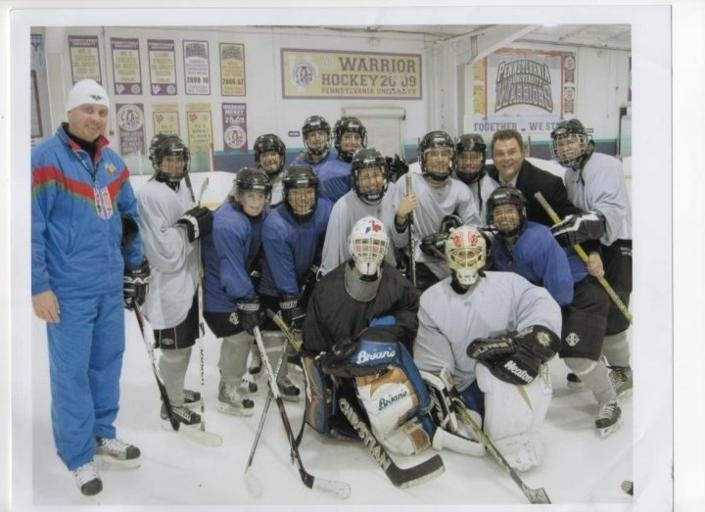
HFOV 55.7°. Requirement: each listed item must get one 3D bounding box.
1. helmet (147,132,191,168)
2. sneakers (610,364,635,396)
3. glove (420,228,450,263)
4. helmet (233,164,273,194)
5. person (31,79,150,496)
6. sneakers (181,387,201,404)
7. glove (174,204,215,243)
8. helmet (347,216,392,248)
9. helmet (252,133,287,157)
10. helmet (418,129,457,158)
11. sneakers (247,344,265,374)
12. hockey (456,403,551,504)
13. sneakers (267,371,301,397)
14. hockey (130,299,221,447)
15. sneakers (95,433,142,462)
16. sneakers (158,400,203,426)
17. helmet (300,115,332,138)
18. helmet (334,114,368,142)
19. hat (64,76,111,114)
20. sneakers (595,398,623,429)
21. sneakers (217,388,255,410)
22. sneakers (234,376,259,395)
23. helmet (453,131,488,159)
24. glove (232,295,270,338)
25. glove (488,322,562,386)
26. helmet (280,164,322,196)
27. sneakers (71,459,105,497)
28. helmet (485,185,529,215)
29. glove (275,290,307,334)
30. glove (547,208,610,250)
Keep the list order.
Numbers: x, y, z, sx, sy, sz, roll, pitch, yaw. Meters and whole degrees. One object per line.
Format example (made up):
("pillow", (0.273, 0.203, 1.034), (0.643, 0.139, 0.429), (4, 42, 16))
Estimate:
("helmet", (-1.310, -0.731, 4.821), (0.263, 0.308, 0.328), (0, 2, -27))
("sneakers", (1.940, 0.891, 4.811), (0.121, 0.284, 0.094), (-9, 2, -43))
("glove", (0.597, -0.082, 4.815), (0.168, 0.116, 0.217), (-3, -7, -26))
("helmet", (-0.697, -0.554, 4.718), (0.204, 0.201, 0.180), (6, 10, 37))
("person", (-1.793, 0.218, 4.583), (0.742, 2.831, 0.419), (-8, 12, -27))
("sneakers", (-1.170, 1.009, 4.827), (0.122, 0.042, 0.089), (5, 2, 23))
("glove", (-1.111, -0.243, 4.761), (0.270, 0.203, 0.100), (-31, 2, -7))
("helmet", (0.115, -0.186, 4.622), (0.182, 0.198, 0.241), (0, -17, 0))
("helmet", (-0.605, -0.810, 4.883), (0.154, 0.189, 0.174), (-2, 26, -4))
("helmet", (0.611, -0.823, 4.901), (0.219, 0.200, 0.177), (-6, 4, 3))
("sneakers", (-0.720, 0.765, 4.954), (0.126, 0.193, 0.069), (-1, 2, -10))
("hockey", (1.017, 1.363, 4.567), (0.048, 0.834, 0.146), (-35, -6, -48))
("sneakers", (-0.486, 0.962, 4.970), (0.268, 0.174, 0.128), (10, 13, 27))
("hockey", (-1.294, 0.855, 4.784), (0.133, 1.102, 0.162), (-15, -17, -47))
("sneakers", (-1.641, 1.353, 4.695), (0.344, 0.126, 0.138), (10, -36, -15))
("sneakers", (-1.205, 1.123, 4.812), (0.375, 0.155, 0.127), (1, 14, 2))
("helmet", (-0.265, -0.956, 4.900), (0.134, 0.173, 0.158), (1, -3, 0))
("helmet", (-0.020, -0.944, 4.914), (0.169, 0.201, 0.180), (1, 1, -3))
("hat", (-1.808, -1.107, 4.542), (0.244, 0.232, 0.236), (36, 21, 23))
("sneakers", (1.843, 1.120, 4.796), (0.107, 0.116, 0.291), (-4, 34, 42))
("sneakers", (-0.849, 1.034, 4.845), (0.246, 0.173, 0.137), (1, 2, 12))
("sneakers", (-0.774, 0.947, 4.882), (0.153, 0.095, 0.061), (20, 0, 7))
("helmet", (0.864, -0.810, 4.821), (0.142, 0.148, 0.190), (1, -3, -10))
("glove", (-0.733, 0.413, 4.751), (0.180, 0.258, 0.115), (0, 3, -3))
("glove", (1.151, 0.670, 4.486), (0.452, 0.326, 0.211), (-39, -23, -23))
("helmet", (-0.362, -0.544, 4.713), (0.183, 0.202, 0.223), (-4, -3, -9))
("sneakers", (-1.815, 1.535, 4.575), (0.111, 0.138, 0.318), (-25, -1, -29))
("helmet", (1.093, -0.434, 4.792), (0.194, 0.230, 0.205), (-12, 34, 25))
("glove", (-0.435, 0.388, 4.766), (0.194, 0.274, 0.255), (-6, 18, -20))
("glove", (1.738, -0.211, 4.927), (0.449, 0.182, 0.282), (-11, -16, -8))
